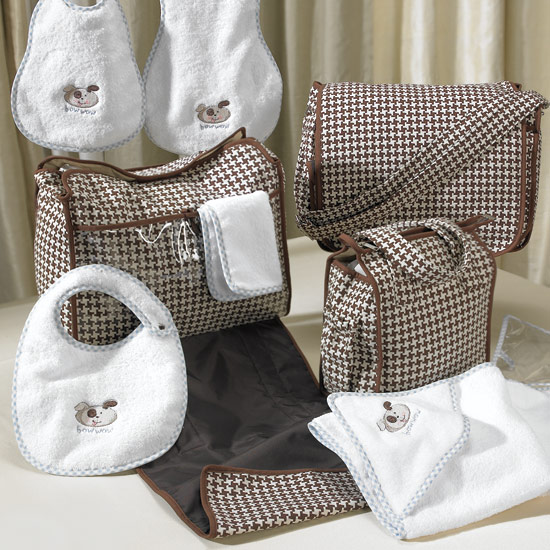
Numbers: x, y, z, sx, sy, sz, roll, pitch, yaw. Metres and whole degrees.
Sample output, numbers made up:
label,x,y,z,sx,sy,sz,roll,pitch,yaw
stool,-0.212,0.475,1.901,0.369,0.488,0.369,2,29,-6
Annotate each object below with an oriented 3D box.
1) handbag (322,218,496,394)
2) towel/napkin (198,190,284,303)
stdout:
label,x,y,z,sx,sy,sz,roll,pitch,yaw
handbag,0.233,0.064,1.184,0.271,0.238,0.153,-11,21,-24
towel/napkin,-0.067,-0.055,1.238,0.170,0.183,0.063,-14,16,-27
